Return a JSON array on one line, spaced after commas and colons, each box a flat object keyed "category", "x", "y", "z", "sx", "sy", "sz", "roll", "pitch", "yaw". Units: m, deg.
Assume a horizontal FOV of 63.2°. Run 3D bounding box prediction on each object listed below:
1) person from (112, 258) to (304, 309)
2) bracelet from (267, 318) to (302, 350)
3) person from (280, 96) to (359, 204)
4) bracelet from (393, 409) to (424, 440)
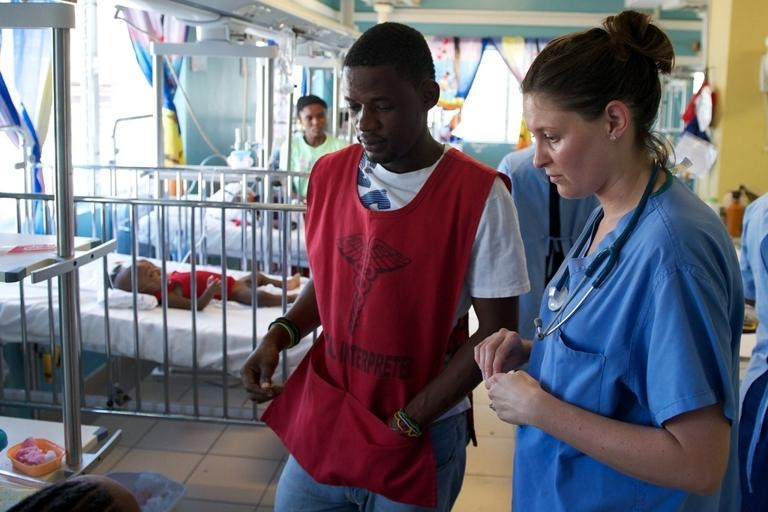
[{"category": "person", "x": -1.111, "y": 0.211, "z": 3.927, "sx": 1.030, "sy": 0.254, "sz": 0.468, "roll": 8, "pitch": 24, "yaw": -18}, {"category": "bracelet", "x": -0.313, "y": 0.235, "z": 2.019, "sx": 0.032, "sy": 0.099, "sz": 0.092, "roll": -27, "pitch": 10, "yaw": -40}, {"category": "person", "x": -0.742, "y": -1.013, "z": 6.544, "sx": 0.723, "sy": 1.285, "sz": 0.679, "roll": 2, "pitch": 0, "yaw": -18}, {"category": "bracelet", "x": 0.074, "y": 0.461, "z": 1.771, "sx": 0.048, "sy": 0.081, "sz": 0.064, "roll": -37, "pitch": -14, "yaw": 0}]
